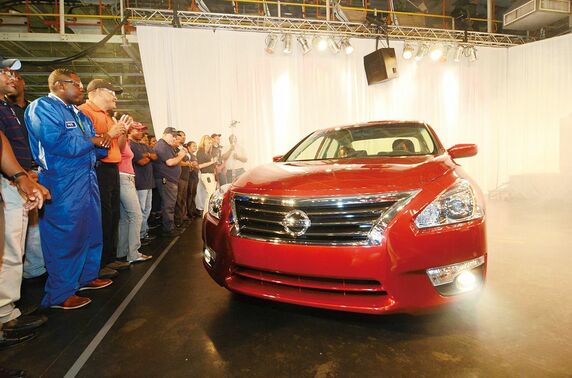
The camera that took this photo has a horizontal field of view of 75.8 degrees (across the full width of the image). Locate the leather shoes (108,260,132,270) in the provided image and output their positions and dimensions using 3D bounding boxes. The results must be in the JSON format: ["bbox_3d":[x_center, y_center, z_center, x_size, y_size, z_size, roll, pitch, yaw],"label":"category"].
[{"bbox_3d":[-1.993,0.916,4.411,0.207,0.081,0.113,0,4,-10],"label":"leather shoes"}]

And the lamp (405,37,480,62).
[{"bbox_3d":[4.161,-3.811,9.912,2.183,0.490,0.422,-4,38,-11],"label":"lamp"}]

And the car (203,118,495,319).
[{"bbox_3d":[1.057,0.010,4.654,2.643,1.661,4.189,0,4,25],"label":"car"}]

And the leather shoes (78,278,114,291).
[{"bbox_3d":[-2.009,1.015,3.902,0.322,0.116,0.104,-7,11,-12],"label":"leather shoes"}]

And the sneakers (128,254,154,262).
[{"bbox_3d":[-1.852,0.886,4.726,0.334,0.129,0.116,-3,10,-21],"label":"sneakers"}]

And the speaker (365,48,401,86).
[{"bbox_3d":[2.552,-3.230,9.639,0.459,0.744,0.826,-16,9,-24],"label":"speaker"}]

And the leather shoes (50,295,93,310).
[{"bbox_3d":[-2.040,1.079,3.527,0.355,0.125,0.125,-2,1,-6],"label":"leather shoes"}]
